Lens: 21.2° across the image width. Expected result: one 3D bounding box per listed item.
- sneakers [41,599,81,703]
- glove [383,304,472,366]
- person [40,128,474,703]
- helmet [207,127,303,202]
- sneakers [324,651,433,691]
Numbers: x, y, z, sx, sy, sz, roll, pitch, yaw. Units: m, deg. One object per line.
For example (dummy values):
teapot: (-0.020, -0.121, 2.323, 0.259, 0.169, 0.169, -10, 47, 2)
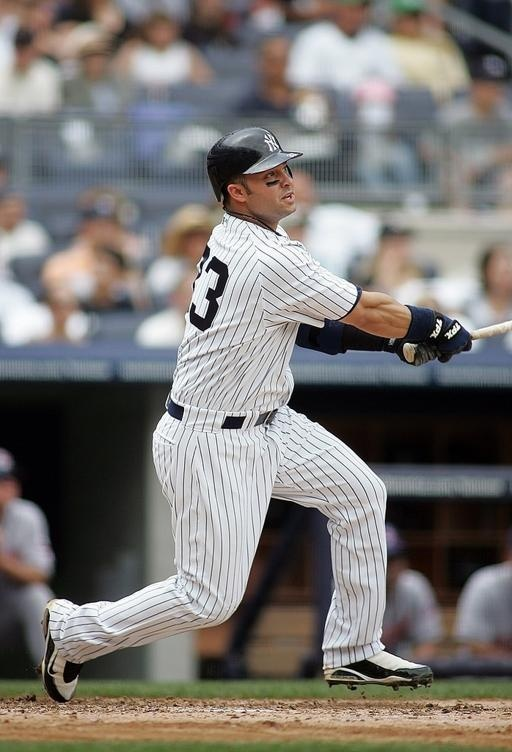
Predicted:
sneakers: (-0.516, 0.742, 3.740, 0.136, 0.274, 0.103, -5, 9, -1)
glove: (0.474, -0.110, 3.679, 0.223, 0.124, 0.100, 20, 44, -22)
person: (-0.010, 0.135, 3.668, 1.203, 1.520, 0.628, -3, 20, 2)
helmet: (-0.020, -0.596, 3.699, 0.260, 0.134, 0.174, -20, 12, 18)
sneakers: (0.347, 0.806, 3.782, 0.326, 0.141, 0.103, -7, -5, 10)
